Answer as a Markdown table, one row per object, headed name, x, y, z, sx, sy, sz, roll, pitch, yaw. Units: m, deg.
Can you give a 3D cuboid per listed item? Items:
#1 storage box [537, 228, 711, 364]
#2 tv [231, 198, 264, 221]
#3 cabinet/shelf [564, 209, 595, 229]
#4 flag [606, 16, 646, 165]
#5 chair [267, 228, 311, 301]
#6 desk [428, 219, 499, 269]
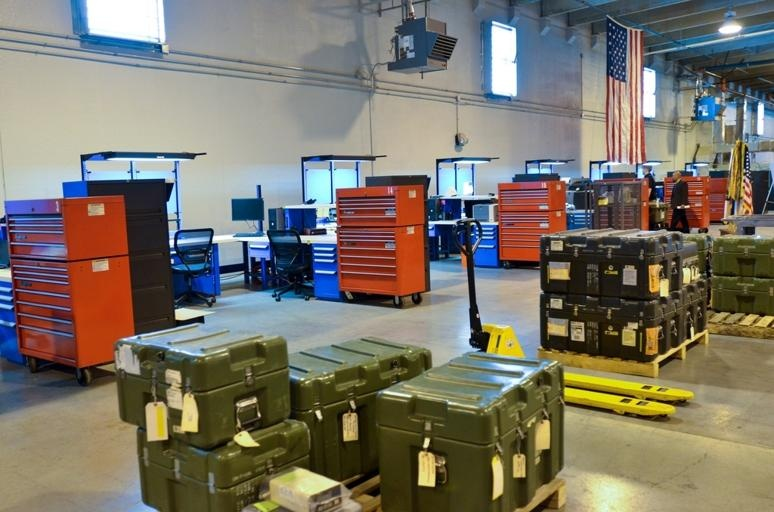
| name | x | y | z | sx | sy | sz | roll | pitch | yaw |
| --- | --- | --- | --- | --- | --- | --- | --- | --- | --- |
| storage box | 2.433 | 0.341 | 6.395 | 1.221 | 1.278 | 2.019 | 3 | 6 | 37 |
| tv | -2.408 | -0.814 | 10.701 | 0.678 | 0.413 | 0.346 | 1 | 7 | -7 |
| cabinet/shelf | 4.203 | -0.813 | 13.606 | 0.480 | 0.470 | 1.999 | -2 | 6 | 16 |
| flag | 6.693 | -4.584 | 17.468 | 1.721 | 3.873 | 0.660 | -10 | 9 | -42 |
| chair | -1.522 | 0.108 | 9.679 | 0.630 | 1.072 | 1.050 | -5 | 6 | -9 |
| desk | 1.303 | -0.214 | 10.582 | 1.080 | 0.626 | 0.414 | 3 | 5 | 39 |
